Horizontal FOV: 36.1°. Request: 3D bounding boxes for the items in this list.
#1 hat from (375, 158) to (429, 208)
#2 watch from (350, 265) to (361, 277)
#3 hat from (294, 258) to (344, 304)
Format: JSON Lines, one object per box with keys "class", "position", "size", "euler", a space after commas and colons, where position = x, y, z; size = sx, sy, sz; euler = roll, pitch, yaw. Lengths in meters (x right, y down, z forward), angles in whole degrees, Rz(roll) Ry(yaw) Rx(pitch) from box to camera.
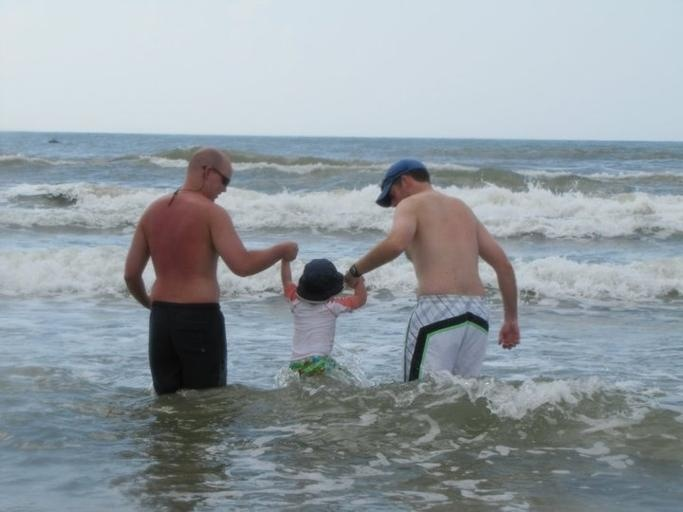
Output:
{"class": "hat", "position": [0.494, -0.664, 9.535], "size": [0.572, 0.267, 0.352], "euler": [-22, -11, 9]}
{"class": "watch", "position": [0.114, 0.139, 9.297], "size": [0.059, 0.113, 0.092], "euler": [-45, -22, 14]}
{"class": "hat", "position": [-0.195, 0.213, 9.436], "size": [0.428, 0.370, 0.203], "euler": [0, 15, -1]}
